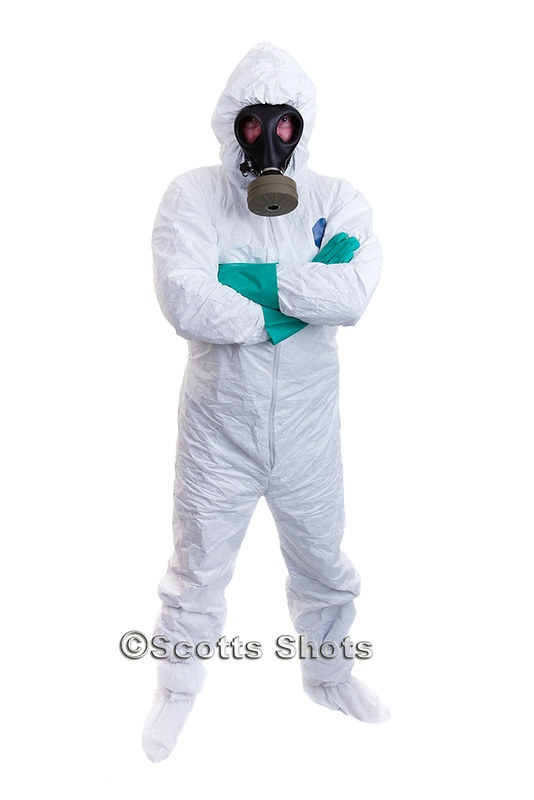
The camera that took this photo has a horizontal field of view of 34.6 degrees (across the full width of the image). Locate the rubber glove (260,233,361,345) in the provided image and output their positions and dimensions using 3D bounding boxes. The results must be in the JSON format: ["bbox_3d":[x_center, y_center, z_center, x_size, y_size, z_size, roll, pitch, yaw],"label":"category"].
[{"bbox_3d":[0.140,-0.323,2.521,0.258,0.339,0.147,-1,-21,13],"label":"rubber glove"}]

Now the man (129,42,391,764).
[{"bbox_3d":[-0.012,0.114,2.703,0.726,2.035,1.371,4,-20,2],"label":"man"}]

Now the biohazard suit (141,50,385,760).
[{"bbox_3d":[-0.095,0.084,2.902,0.648,2.496,0.694,-8,28,-15],"label":"biohazard suit"}]

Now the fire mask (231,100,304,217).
[{"bbox_3d":[0.011,-0.692,2.410,0.210,0.301,0.193,-3,1,0],"label":"fire mask"}]

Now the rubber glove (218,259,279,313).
[{"bbox_3d":[-0.051,-0.334,2.460,0.157,0.144,0.053,-14,-17,7],"label":"rubber glove"}]

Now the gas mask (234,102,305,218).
[{"bbox_3d":[0.011,-0.691,2.420,0.206,0.296,0.201,-3,1,40],"label":"gas mask"}]
